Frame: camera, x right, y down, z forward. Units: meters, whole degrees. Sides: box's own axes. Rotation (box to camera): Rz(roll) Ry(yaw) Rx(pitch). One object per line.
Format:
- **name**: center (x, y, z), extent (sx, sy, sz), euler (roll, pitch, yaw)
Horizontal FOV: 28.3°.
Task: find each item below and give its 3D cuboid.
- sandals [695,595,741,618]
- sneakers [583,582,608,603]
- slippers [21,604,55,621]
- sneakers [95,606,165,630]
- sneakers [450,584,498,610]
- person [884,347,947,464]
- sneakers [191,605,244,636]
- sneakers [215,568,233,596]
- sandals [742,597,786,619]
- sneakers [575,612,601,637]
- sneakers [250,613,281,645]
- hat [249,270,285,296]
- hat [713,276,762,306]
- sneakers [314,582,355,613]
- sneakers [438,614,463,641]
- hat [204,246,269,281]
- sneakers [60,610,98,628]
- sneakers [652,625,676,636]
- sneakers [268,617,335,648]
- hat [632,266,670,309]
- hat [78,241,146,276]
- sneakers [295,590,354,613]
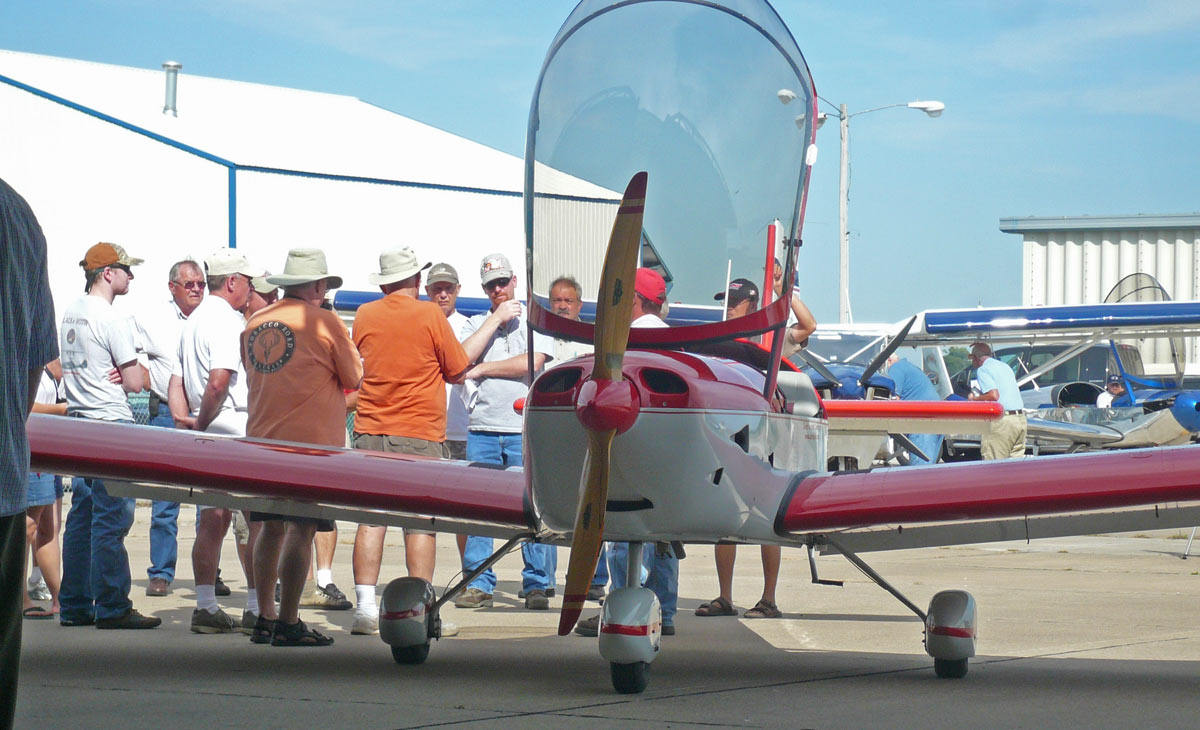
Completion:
- **sandals**: center (1.183, 2.464, 24.185), extent (0.421, 0.180, 0.192), euler (3, -2, -10)
- **sneakers**: center (-0.035, 2.347, 24.618), extent (0.245, 0.144, 0.372), euler (1, -5, -8)
- **slippers**: center (-5.630, 2.487, 23.800), extent (0.356, 0.128, 0.140), euler (8, -4, -10)
- **sneakers**: center (-4.644, 2.492, 23.436), extent (0.636, 0.225, 0.229), euler (-1, -4, -7)
- **sneakers**: center (-1.297, 2.382, 24.344), extent (0.393, 0.254, 0.213), euler (7, -4, -4)
- **person**: center (3.571, 0.528, 28.387), extent (0.621, 1.579, 0.563), euler (5, 31, 9)
- **sneakers**: center (-3.753, 2.523, 23.301), extent (0.512, 0.211, 0.201), euler (-1, -1, -11)
- **sneakers**: center (-3.986, 2.340, 24.921), extent (0.149, 0.288, 0.413), euler (2, -11, -26)
- **sandals**: center (1.651, 2.489, 24.059), extent (0.407, 0.163, 0.160), euler (2, -5, 2)
- **sneakers**: center (-0.115, 2.601, 23.470), extent (0.131, 0.166, 0.379), euler (14, -10, -38)
- **sneakers**: center (-3.227, 2.565, 22.864), extent (0.169, 0.154, 0.361), euler (2, 0, 3)
- **hat**: center (-3.378, -0.815, 23.950), extent (0.308, 0.138, 0.425), euler (0, -3, -11)
- **hat**: center (1.272, -0.701, 22.336), extent (0.331, 0.183, 0.216), euler (4, -1, 5)
- **sneakers**: center (-2.735, 2.394, 24.384), extent (0.195, 0.186, 0.401), euler (3, -5, -40)
- **sneakers**: center (-1.483, 2.585, 23.326), extent (0.241, 0.142, 0.236), euler (0, -9, -5)
- **hat**: center (-3.708, -1.020, 24.226), extent (0.516, 0.193, 0.347), euler (2, 5, -29)
- **sneakers**: center (-5.155, 2.519, 23.434), extent (0.374, 0.174, 0.132), euler (1, 0, -1)
- **sneakers**: center (0.652, 2.605, 23.253), extent (0.188, 0.111, 0.185), euler (0, -10, 0)
- **sneakers**: center (-2.901, 2.585, 22.850), extent (0.575, 0.234, 0.252), euler (0, -2, -8)
- **hat**: center (0.453, -0.761, 22.342), extent (0.297, 0.387, 0.404), euler (12, 5, -7)
- **hat**: center (-4.919, -1.044, 23.807), extent (0.511, 0.279, 0.324), euler (-5, 11, -19)
- **sneakers**: center (-2.825, 2.434, 24.410), extent (0.519, 0.214, 0.221), euler (-2, -5, 12)
